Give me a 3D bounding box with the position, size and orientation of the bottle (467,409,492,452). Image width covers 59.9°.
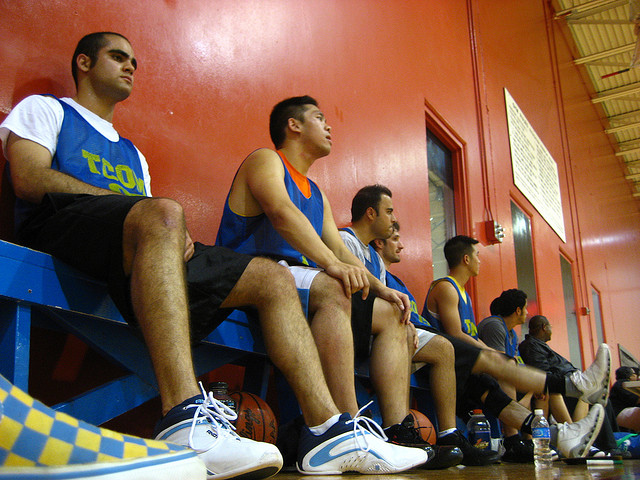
[{"bbox_3d":[0.938,1.129,3.290,0.124,0.247,0.126,-2,-7,0],"label":"bottle"}]

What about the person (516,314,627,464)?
[{"bbox_3d":[2.373,1.392,5.244,0.792,1.542,0.582,-17,-38,30],"label":"person"}]

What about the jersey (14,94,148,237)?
[{"bbox_3d":[-0.980,-0.250,2.513,0.509,0.665,0.543,5,2,32],"label":"jersey"}]

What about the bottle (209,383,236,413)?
[{"bbox_3d":[-0.366,0.577,2.082,0.103,0.126,0.112,0,-23,-2],"label":"bottle"}]

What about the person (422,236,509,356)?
[{"bbox_3d":[1.208,0.453,4.300,0.736,0.966,0.608,8,-3,21],"label":"person"}]

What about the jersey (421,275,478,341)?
[{"bbox_3d":[1.061,0.590,4.388,0.294,0.573,0.357,-25,-23,37],"label":"jersey"}]
